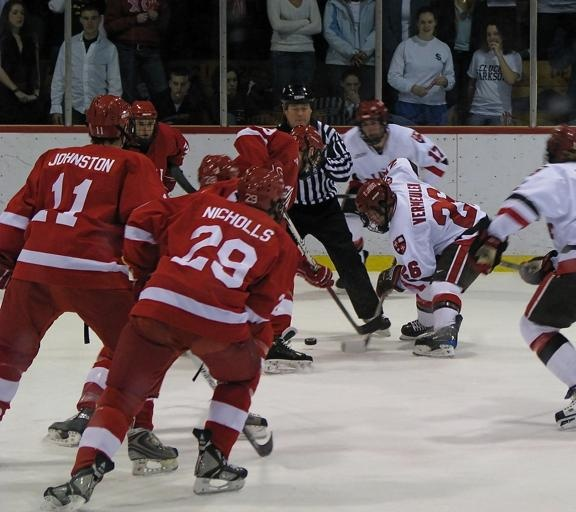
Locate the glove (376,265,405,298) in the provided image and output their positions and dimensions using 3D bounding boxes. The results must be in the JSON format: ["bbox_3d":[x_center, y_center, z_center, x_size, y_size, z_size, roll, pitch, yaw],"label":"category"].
[{"bbox_3d":[0.672,0.163,5.368,0.105,0.179,0.262,40,24,2],"label":"glove"}]

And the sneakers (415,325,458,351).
[{"bbox_3d":[0.846,0.477,4.757,0.097,0.201,0.245,-9,12,-41],"label":"sneakers"}]

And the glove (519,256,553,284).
[{"bbox_3d":[1.134,0.067,3.773,0.064,0.147,0.101,52,6,-29],"label":"glove"}]

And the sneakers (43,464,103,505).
[{"bbox_3d":[-0.674,0.739,2.671,0.195,0.074,0.101,-40,8,-27],"label":"sneakers"}]

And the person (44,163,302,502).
[{"bbox_3d":[-0.387,0.266,2.872,0.865,1.120,0.491,-3,11,-19],"label":"person"}]

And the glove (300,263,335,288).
[{"bbox_3d":[0.173,0.125,5.246,0.223,0.083,0.135,25,-12,41],"label":"glove"}]

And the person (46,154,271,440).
[{"bbox_3d":[-0.297,0.246,2.968,0.915,1.012,0.311,9,4,6],"label":"person"}]

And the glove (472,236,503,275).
[{"bbox_3d":[0.882,-0.006,3.717,0.156,0.156,0.066,14,25,-18],"label":"glove"}]
